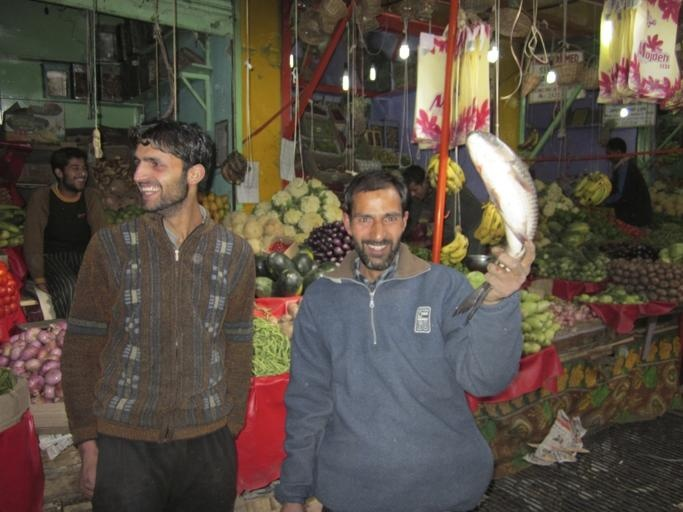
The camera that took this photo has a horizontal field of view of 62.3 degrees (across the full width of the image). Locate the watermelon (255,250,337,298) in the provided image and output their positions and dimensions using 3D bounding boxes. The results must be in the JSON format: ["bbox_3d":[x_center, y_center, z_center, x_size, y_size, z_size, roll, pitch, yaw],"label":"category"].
[{"bbox_3d":[-0.472,0.156,5.193,0.636,0.454,0.504,3,6,-22],"label":"watermelon"}]

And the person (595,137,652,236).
[{"bbox_3d":[4.270,-1.138,8.393,0.639,1.366,2.268,2,7,27],"label":"person"}]

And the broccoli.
[{"bbox_3d":[-0.488,-0.497,6.814,0.806,0.906,0.465,49,2,35],"label":"broccoli"}]

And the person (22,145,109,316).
[{"bbox_3d":[-3.156,-0.337,6.684,0.888,3.061,0.929,-1,5,-24],"label":"person"}]

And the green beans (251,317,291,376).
[{"bbox_3d":[-0.602,0.757,4.679,0.344,0.456,0.363,1,8,-27],"label":"green beans"}]
